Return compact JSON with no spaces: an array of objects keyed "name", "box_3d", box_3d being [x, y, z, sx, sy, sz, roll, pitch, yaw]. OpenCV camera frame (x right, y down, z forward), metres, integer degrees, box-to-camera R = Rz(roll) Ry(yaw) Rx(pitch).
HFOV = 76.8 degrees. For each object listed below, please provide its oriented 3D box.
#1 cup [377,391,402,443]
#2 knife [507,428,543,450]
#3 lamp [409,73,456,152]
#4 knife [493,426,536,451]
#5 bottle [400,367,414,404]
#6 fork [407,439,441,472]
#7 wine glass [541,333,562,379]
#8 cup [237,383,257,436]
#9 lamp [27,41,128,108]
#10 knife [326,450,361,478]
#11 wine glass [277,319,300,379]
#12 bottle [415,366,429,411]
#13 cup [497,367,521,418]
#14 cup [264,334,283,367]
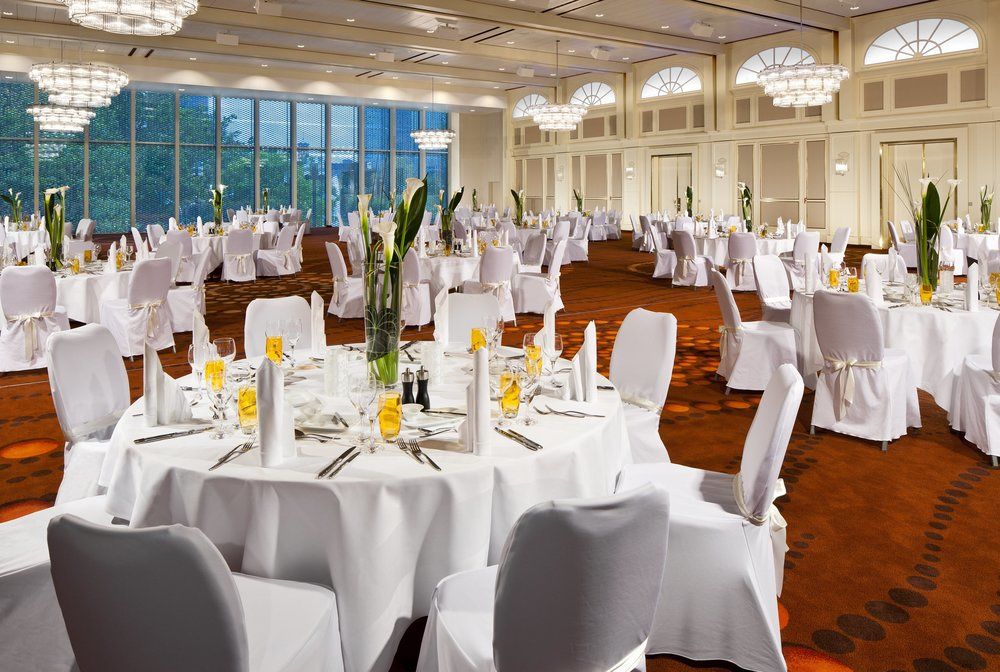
[{"name":"cup","box_3d":[-0.432,0.308,2.468,0.085,0.199,0.102,-4,13,-16]},{"name":"knife","box_3d":[0.090,0.390,2.488,0.044,0.018,0.207,-6,13,-18]},{"name":"lamp","box_3d":[-2.299,-7.697,22.148,1.495,2.204,5.711,-1,14,-5]},{"name":"knife","box_3d":[0.067,0.395,2.507,0.056,0.010,0.216,-21,18,-28]},{"name":"bottle","box_3d":[-0.407,0.222,2.804,0.061,0.134,0.170,-2,14,-8]},{"name":"fork","box_3d":[-0.293,0.444,2.372,0.054,0.043,0.273,0,23,-19]},{"name":"wine glass","box_3d":[0.260,0.077,3.280,0.094,0.250,0.283,1,13,4]},{"name":"cup","box_3d":[-1.022,0.300,2.563,0.096,0.172,0.076,0,13,0]},{"name":"lamp","box_3d":[-8.225,-4.964,12.524,1.291,0.653,1.351,-4,10,-26]},{"name":"knife","box_3d":[-0.569,0.461,2.290,0.025,0.016,0.202,8,18,9]},{"name":"wine glass","box_3d":[-1.086,0.037,3.248,0.095,0.299,0.363,-5,14,-20]},{"name":"bottle","box_3d":[-0.342,0.238,2.823,0.060,0.157,0.200,-2,14,-7]},{"name":"cup","box_3d":[0.038,0.239,2.703,0.084,0.208,0.171,0,13,-1]},{"name":"cup","box_3d":[-1.113,0.069,3.162,0.062,0.163,0.130,2,13,9]}]
